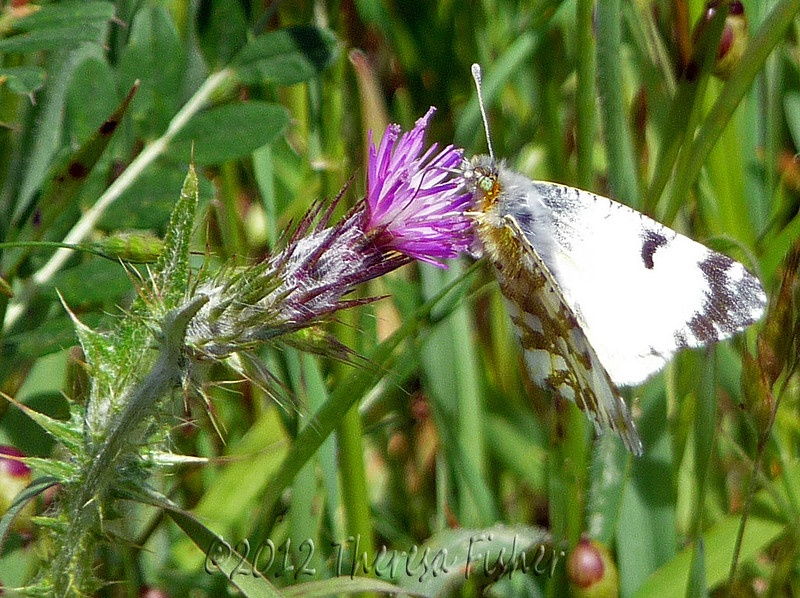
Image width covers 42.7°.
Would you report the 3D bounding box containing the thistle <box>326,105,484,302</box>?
[{"bbox_3d":[0.030,-0.250,2.898,0.425,0.529,0.409,9,13,-46],"label":"thistle"}]
